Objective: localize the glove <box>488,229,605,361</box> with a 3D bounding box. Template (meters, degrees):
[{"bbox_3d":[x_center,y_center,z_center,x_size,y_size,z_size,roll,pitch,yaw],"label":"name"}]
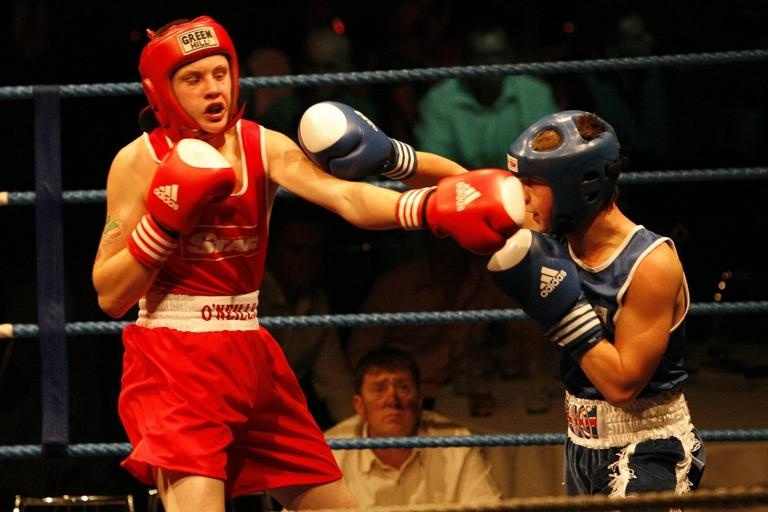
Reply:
[{"bbox_3d":[0.688,0.155,4.335,0.393,0.597,0.248,-48,-6,-8],"label":"glove"}]

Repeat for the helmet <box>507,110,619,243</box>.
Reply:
[{"bbox_3d":[0.770,-0.357,4.162,0.537,0.473,0.397,-1,1,0],"label":"helmet"}]
